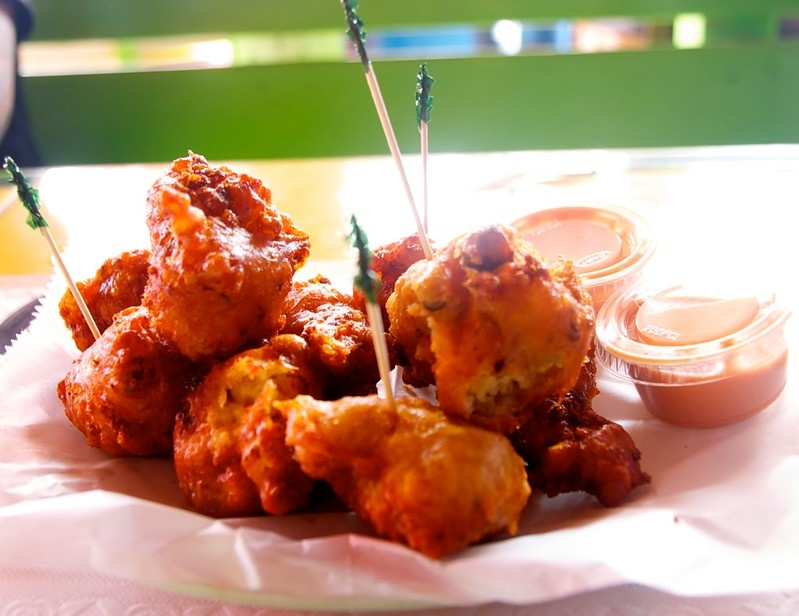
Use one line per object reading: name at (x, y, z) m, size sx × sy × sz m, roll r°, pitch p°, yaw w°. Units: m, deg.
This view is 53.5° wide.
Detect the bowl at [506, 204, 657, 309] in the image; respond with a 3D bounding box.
bowl at (0.555, -0.191, 2.258) m, size 0.354 × 0.119 × 0.347 m, roll -13°, pitch 35°, yaw 9°
